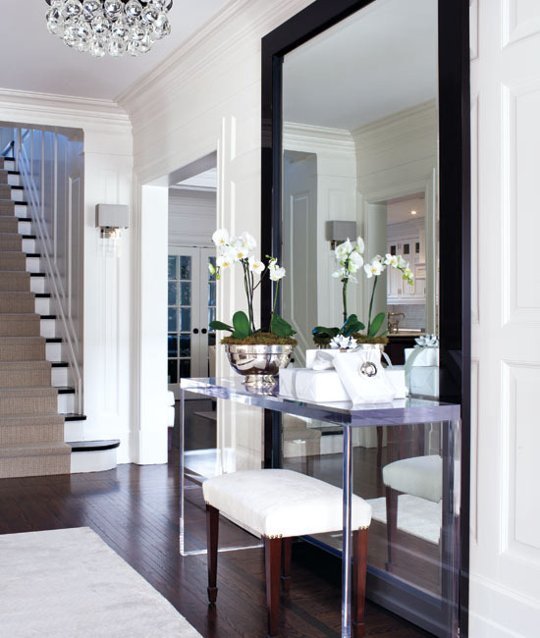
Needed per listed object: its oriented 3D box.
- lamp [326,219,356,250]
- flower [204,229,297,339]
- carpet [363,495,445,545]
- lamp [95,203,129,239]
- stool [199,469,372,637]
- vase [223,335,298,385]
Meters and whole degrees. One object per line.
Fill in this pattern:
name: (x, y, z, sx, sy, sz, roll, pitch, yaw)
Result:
lamp: (0.332, -0.406, 2.567, 0.109, 0.203, 0.118, 0, -1, -15)
flower: (-0.085, -0.127, 2.626, 0.370, 0.531, 0.388, -4, -6, 11)
carpet: (0.451, 0.698, 1.948, 0.020, 0.157, 0.316, 1, -2, -25)
lamp: (-1.546, -0.948, 5.280, 0.276, 0.338, 0.139, -1, 1, -31)
stool: (0.034, 0.861, 2.040, 0.394, 0.527, 0.681, 3, -6, -29)
vase: (-0.048, 0.191, 2.536, 0.272, 0.228, 0.292, -1, 5, -26)
